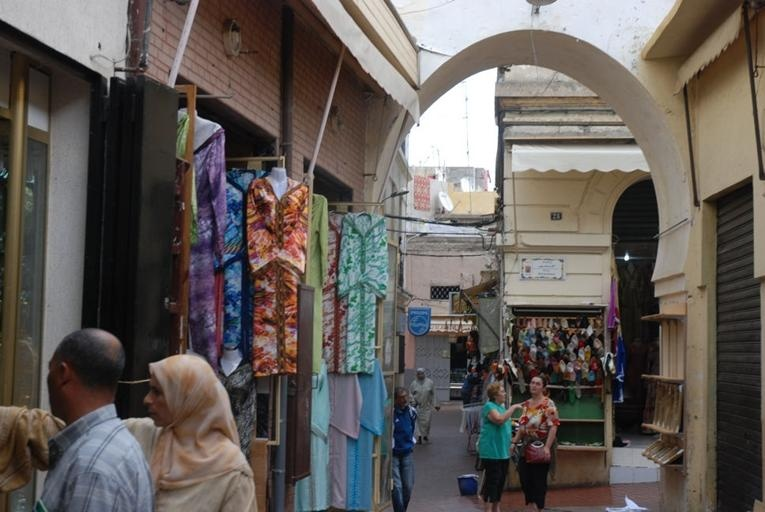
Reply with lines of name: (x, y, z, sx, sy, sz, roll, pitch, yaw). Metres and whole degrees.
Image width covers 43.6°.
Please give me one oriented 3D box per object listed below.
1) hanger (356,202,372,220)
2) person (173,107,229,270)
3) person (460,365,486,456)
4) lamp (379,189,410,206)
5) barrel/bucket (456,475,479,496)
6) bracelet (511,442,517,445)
hanger: (-0.239, -0.549, 11.479, 0.258, 0.291, 0.029, 1, -6, -5)
person: (-1.576, -0.585, 8.598, 0.294, 1.246, 0.451, 2, -8, -11)
person: (1.817, 3.033, 18.898, 0.533, 1.753, 0.377, -4, 18, 2)
lamp: (0.127, -1.037, 16.606, 0.601, 0.197, 0.467, -17, -4, 10)
barrel/bucket: (1.324, 3.499, 14.679, 0.259, 0.272, 0.306, 1, -12, -3)
bracelet: (1.681, 2.368, 12.126, 0.066, 0.045, 0.086, 4, -3, -25)
